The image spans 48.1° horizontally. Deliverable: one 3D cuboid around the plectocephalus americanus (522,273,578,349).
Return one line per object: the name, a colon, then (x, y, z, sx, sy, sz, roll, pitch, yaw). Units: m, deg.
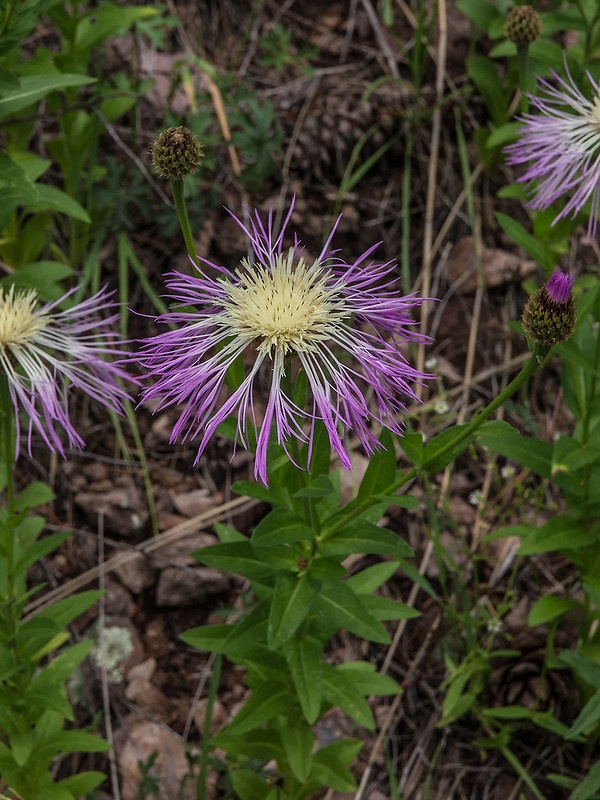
plectocephalus americanus: (0.499, -0.171, 1.318, 0.103, 0.138, 0.091, -1, 23, -9)

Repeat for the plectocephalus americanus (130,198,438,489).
plectocephalus americanus: (-0.029, -0.121, 1.566, 0.740, 0.448, 0.768, 0, -2, 8)

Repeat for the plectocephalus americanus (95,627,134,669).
plectocephalus americanus: (-0.534, 0.703, 1.913, 0.100, 0.096, 0.057, 5, -34, 11)
